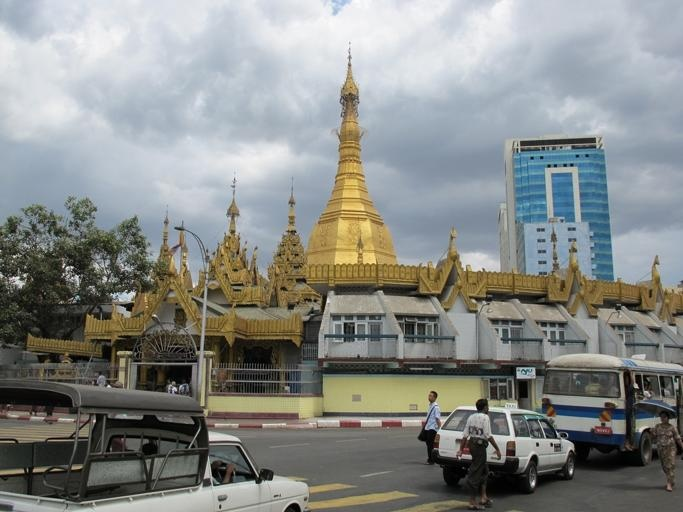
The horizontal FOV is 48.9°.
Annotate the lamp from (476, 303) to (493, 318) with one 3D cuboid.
[{"bbox_3d":[7.664,2.929,40.738,0.615,0.987,1.375,-3,-12,17],"label":"lamp"}]

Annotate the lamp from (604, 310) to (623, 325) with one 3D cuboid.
[{"bbox_3d":[16.311,3.638,44.987,0.868,0.990,2.124,-5,-12,26],"label":"lamp"}]

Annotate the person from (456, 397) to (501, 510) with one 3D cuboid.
[{"bbox_3d":[2.959,4.226,16.109,0.867,2.259,0.804,-2,-12,12],"label":"person"}]
